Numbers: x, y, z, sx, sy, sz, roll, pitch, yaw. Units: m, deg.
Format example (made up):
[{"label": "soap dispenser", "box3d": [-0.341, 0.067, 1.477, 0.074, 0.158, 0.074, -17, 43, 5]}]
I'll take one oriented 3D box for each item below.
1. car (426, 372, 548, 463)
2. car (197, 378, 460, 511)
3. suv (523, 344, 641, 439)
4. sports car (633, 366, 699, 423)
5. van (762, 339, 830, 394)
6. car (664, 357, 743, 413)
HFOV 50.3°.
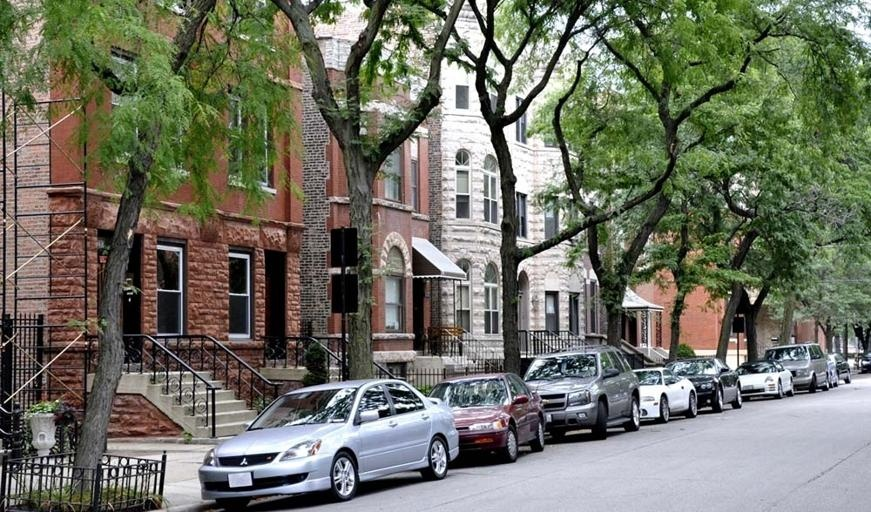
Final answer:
[{"label": "car", "box3d": [1.660, 4.315, 25.410, 2.147, 1.912, 5.119, -2, -5, 20]}, {"label": "car", "box3d": [-2.404, 4.268, 21.693, 5.821, 2.716, 2.045, 5, -13, -38]}, {"label": "suv", "box3d": [4.588, 4.297, 28.794, 3.072, 3.042, 7.500, 0, -1, 24]}, {"label": "sports car", "box3d": [11.445, 5.324, 40.144, 2.827, 2.105, 6.393, -3, -1, 22]}, {"label": "van", "box3d": [18.849, 5.705, 47.377, 2.206, 2.290, 5.411, -2, -4, 39]}, {"label": "car", "box3d": [11.309, 5.189, 37.976, 2.015, 1.947, 5.164, -3, -5, 35]}]
